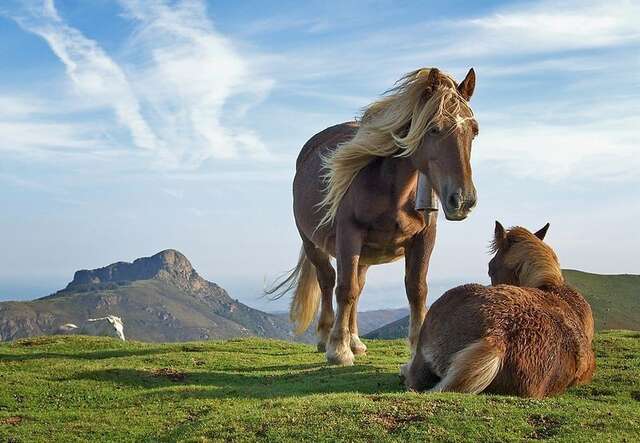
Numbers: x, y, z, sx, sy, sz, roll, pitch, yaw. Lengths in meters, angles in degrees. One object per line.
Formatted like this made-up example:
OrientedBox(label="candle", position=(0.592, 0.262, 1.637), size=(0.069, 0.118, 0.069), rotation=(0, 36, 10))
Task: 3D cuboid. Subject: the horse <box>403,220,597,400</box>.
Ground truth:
OrientedBox(label="horse", position=(3.679, 1.707, 13.744), size=(3.329, 3.522, 2.007), rotation=(4, -9, -29))
